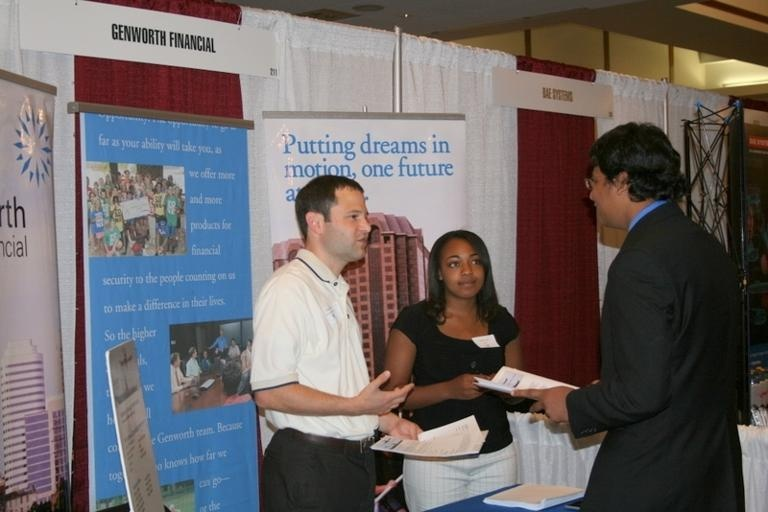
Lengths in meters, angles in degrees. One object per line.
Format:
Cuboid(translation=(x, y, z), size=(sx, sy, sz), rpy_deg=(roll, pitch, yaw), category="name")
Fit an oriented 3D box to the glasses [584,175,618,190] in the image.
Cuboid(translation=(1.068, -0.360, 3.269), size=(0.138, 0.053, 0.133), rpy_deg=(2, 4, 14), category="glasses")
